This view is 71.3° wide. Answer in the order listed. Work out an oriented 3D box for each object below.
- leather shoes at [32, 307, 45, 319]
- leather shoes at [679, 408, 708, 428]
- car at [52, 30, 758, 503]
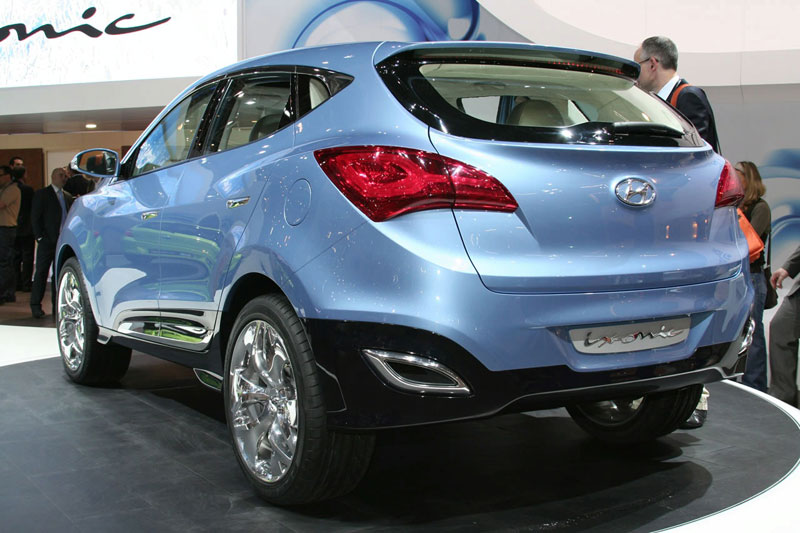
[{"bbox_3d":[-5.587,0.700,8.624,0.155,0.155,0.446,-4,6,-33],"label":"leather shoes"},{"bbox_3d":[1.705,0.883,3.291,0.144,0.070,0.192,5,-18,-27],"label":"leather shoes"},{"bbox_3d":[-0.368,-0.138,3.134,2.080,1.355,3.250,0,7,-34],"label":"car"}]
